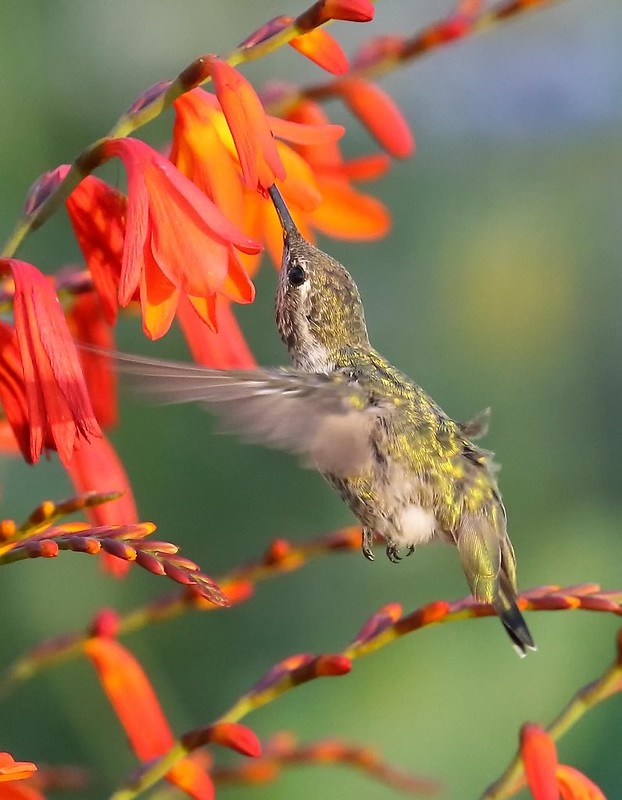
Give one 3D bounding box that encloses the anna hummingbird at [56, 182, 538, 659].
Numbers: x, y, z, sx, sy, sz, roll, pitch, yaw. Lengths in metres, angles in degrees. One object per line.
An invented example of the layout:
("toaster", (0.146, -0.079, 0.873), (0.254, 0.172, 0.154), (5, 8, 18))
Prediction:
("anna hummingbird", (-0.017, 0.011, 1.178), (0.540, 0.478, 0.195), (-17, 28, -35))
